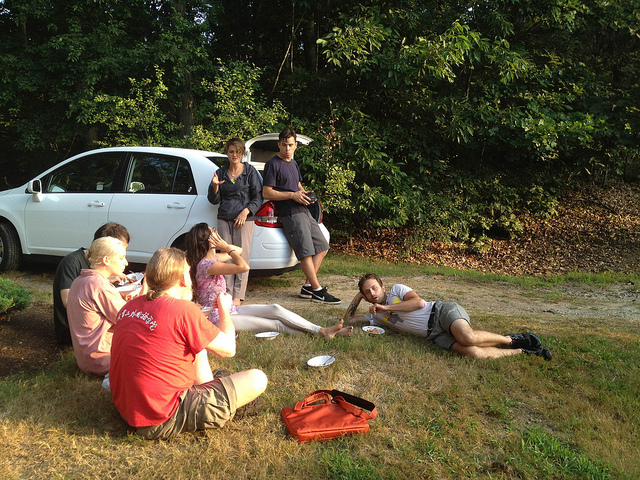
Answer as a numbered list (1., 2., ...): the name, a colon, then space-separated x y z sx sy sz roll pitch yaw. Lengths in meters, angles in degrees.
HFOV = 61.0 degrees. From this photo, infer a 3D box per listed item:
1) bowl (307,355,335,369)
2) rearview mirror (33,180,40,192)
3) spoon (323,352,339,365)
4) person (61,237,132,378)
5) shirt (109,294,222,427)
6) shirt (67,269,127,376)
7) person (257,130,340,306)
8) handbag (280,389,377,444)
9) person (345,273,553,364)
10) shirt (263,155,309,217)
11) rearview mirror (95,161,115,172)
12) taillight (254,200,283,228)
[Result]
1. bowl: 0.009 1.317 5.913 0.280 0.087 0.224 3 8 6
2. rearview mirror: -4.604 -0.887 8.834 0.094 0.192 0.048 -2 9 -29
3. spoon: 0.149 1.277 6.010 0.269 0.046 0.051 -35 22 -35
4. person: -2.297 0.796 5.955 0.843 1.556 0.744 0 2 -39
5. shirt: -1.518 1.064 5.154 1.151 1.167 0.915 4 5 15
6. shirt: -2.341 0.862 5.933 0.874 1.057 0.649 5 7 44
7. person: -0.301 -0.350 8.275 1.258 2.548 0.898 2 8 -4
8. handbag: 0.082 1.649 5.086 0.599 0.183 0.491 -4 12 -21
9. person: 1.464 0.982 6.673 2.237 0.898 0.786 6 -30 5
10. shirt: -0.502 -0.799 8.009 0.665 0.886 0.329 2 8 -5
11. rearview mirror: -3.407 -1.183 8.635 0.187 0.049 0.197 16 11 38
12. taillight: -0.753 -0.368 7.861 0.464 0.228 0.271 2 2 9
